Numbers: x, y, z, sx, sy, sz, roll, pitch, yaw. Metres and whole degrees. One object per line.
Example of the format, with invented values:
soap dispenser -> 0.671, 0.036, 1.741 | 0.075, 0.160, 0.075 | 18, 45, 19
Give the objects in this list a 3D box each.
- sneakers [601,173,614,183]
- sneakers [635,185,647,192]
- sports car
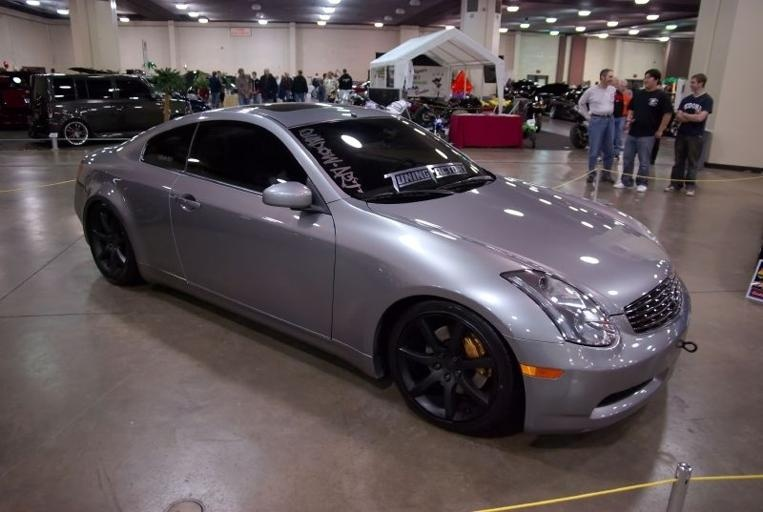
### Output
sneakers -> 4.580, -1.593, 9.427 | 0.142, 0.173, 0.391 | -17, 17, -8
sneakers -> 4.816, -1.258, 8.607 | 0.124, 0.122, 0.278 | 3, 7, 30
sports car -> -0.212, -0.110, 3.658 | 4.459, 1.425, 2.139 | 18, 27, 28
